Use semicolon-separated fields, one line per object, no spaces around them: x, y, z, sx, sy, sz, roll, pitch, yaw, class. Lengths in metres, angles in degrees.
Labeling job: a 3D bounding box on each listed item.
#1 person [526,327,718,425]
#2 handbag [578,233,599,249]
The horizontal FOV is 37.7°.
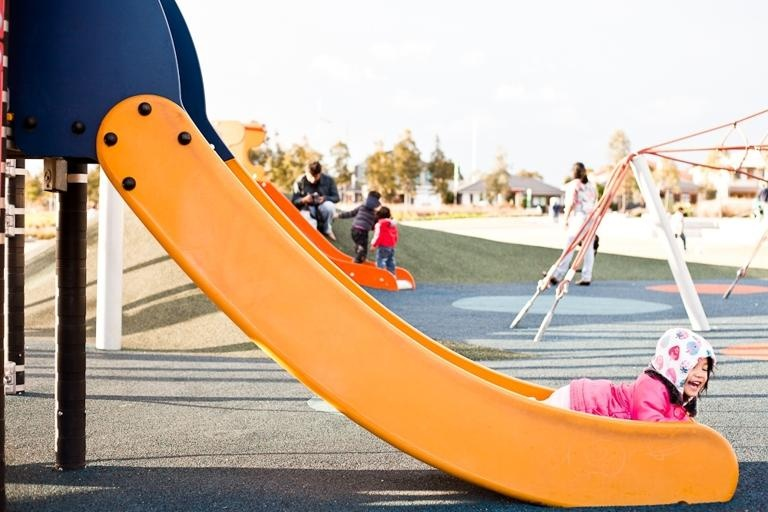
2.072;1.026;9.085;1.019;0.455;0.823;-4;3;21;person
2.658;-0.195;14.651;0.110;0.286;0.207;-5;7;-10;handbag
